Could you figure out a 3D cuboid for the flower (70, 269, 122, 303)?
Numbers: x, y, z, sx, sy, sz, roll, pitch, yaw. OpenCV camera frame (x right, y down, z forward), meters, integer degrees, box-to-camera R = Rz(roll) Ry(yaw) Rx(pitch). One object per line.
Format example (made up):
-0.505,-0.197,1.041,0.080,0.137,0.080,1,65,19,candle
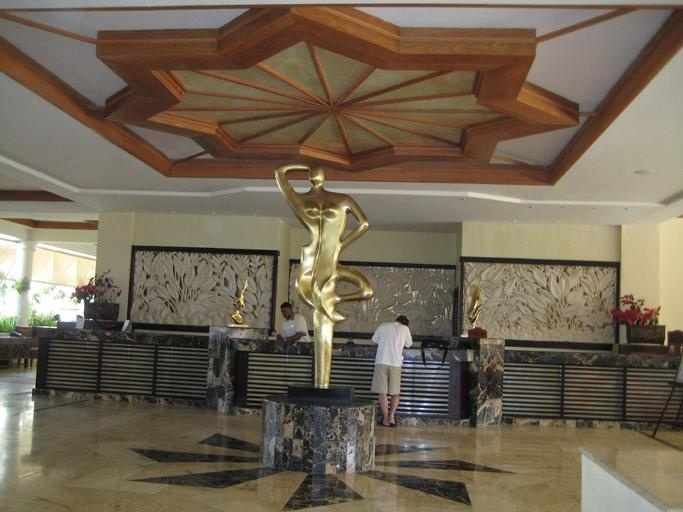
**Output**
-4.986,0.632,10.740,0.791,0.539,0.731,0,-4,-26,flower

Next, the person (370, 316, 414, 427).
0.718,1.662,7.575,0.488,1.575,0.339,7,-7,-38,person

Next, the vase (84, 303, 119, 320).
-4.762,1.095,10.426,0.521,0.306,0.385,1,3,-12,vase

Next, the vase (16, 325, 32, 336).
-9.259,2.187,15.299,0.217,0.260,0.468,2,-5,10,vase

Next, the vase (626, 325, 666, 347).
5.685,1.464,9.781,0.582,0.321,0.417,0,-3,9,vase

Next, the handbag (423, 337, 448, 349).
1.470,1.370,8.293,0.410,0.130,0.530,2,-5,8,handbag

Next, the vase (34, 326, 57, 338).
-5.202,1.337,9.178,0.495,0.182,0.210,-1,-6,30,vase

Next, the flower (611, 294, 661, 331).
5.697,1.093,10.165,0.826,0.580,0.750,9,6,44,flower

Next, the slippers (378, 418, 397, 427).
0.655,2.436,7.669,0.103,0.119,0.312,2,-4,-36,slippers
